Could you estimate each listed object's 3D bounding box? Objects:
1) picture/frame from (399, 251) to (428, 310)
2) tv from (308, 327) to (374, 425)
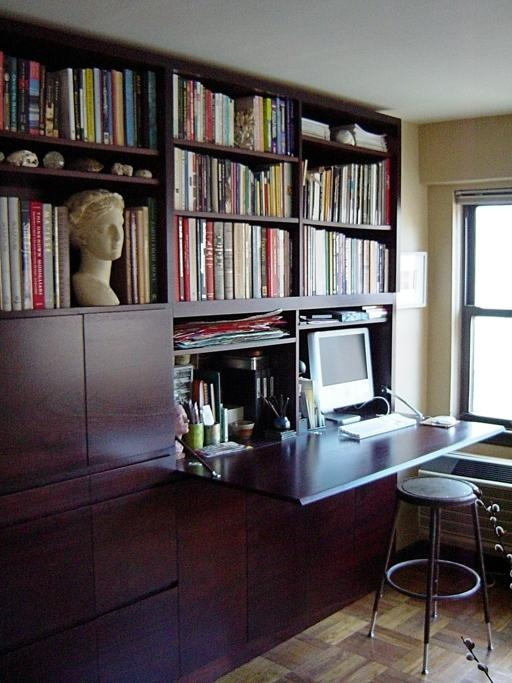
[{"bbox_3d":[0.913,-0.360,3.317,0.117,0.314,0.349,0,4,28],"label":"picture/frame"},{"bbox_3d":[0.371,0.158,2.909,0.064,0.406,0.480,9,10,43],"label":"tv"}]
